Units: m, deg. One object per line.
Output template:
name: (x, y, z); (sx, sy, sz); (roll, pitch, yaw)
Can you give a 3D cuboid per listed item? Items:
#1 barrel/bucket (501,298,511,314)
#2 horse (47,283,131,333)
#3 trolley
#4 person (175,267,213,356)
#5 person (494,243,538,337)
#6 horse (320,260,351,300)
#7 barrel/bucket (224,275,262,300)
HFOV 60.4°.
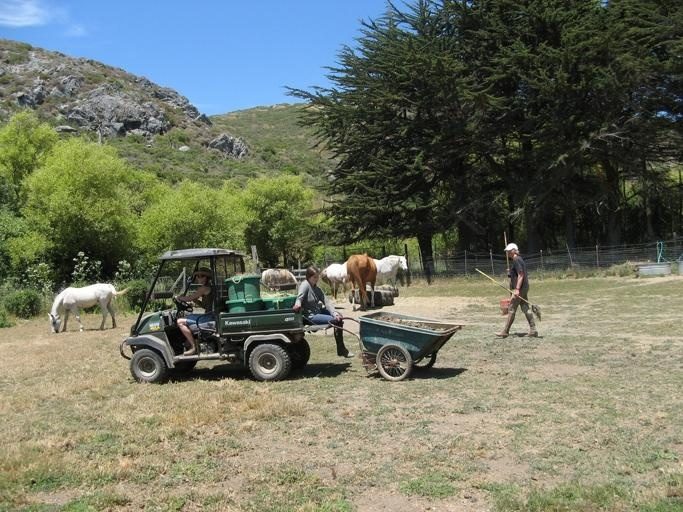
barrel/bucket: (4.654, 1.372, 15.980); (0.385, 0.355, 0.658); (4, -12, 10)
horse: (-9.295, 1.905, 21.717); (2.890, 1.586, 0.718); (-8, -4, -34)
trolley: (1.093, 1.941, 13.043); (2.692, 1.271, 1.787); (4, 2, 29)
person: (-3.210, 1.201, 13.133); (0.970, 1.918, 0.783); (-3, -3, 6)
person: (4.882, 0.867, 15.780); (0.937, 2.853, 1.102); (-3, 10, -10)
horse: (0.054, 1.027, 26.578); (0.768, 1.793, 2.870); (8, -8, -26)
barrel/bucket: (-2.128, 0.677, 12.742); (0.618, 0.405, 0.540); (-1, -6, -1)
